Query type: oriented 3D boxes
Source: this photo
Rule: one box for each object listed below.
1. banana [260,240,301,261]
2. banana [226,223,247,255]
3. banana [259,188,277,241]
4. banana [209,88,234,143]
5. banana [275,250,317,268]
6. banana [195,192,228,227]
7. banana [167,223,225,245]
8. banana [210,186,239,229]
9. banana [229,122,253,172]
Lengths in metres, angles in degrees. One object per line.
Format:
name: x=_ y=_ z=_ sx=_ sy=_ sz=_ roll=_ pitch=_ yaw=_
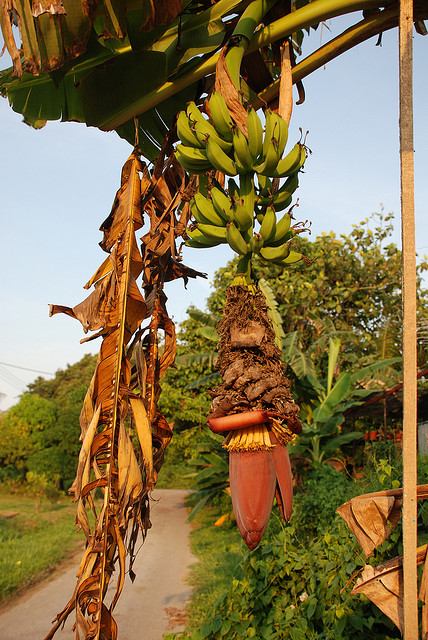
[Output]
banana: x=0.222 y=-0.237 z=1.998 sx=0.167 sy=0.073 sz=0.051 roll=-8 pitch=-50 yaw=27
banana: x=0.076 y=-0.269 z=1.855 sx=0.041 sy=0.124 sz=0.089 roll=-19 pitch=29 yaw=9
banana: x=0.198 y=-0.358 z=1.940 sx=0.052 sy=0.162 sz=0.049 roll=25 pitch=16 yaw=39
banana: x=0.022 y=-0.725 z=1.933 sx=0.075 sy=0.212 sz=0.058 roll=-7 pitch=7 yaw=19
banana: x=0.302 y=-0.227 z=1.997 sx=0.170 sy=0.052 sz=0.070 roll=2 pitch=-3 yaw=-6
banana: x=-0.035 y=-0.415 z=2.074 sx=0.074 sy=0.059 sz=0.205 roll=-2 pitch=40 yaw=-40
banana: x=-0.067 y=-0.337 z=2.138 sx=0.206 sy=0.089 sz=0.050 roll=17 pitch=-25 yaw=2
banana: x=0.021 y=-0.411 z=1.967 sx=0.054 sy=0.205 sz=0.076 roll=-41 pitch=-41 yaw=17
banana: x=0.094 y=-0.613 z=1.922 sx=0.061 sy=0.161 sz=0.130 roll=-7 pitch=-10 yaw=4
